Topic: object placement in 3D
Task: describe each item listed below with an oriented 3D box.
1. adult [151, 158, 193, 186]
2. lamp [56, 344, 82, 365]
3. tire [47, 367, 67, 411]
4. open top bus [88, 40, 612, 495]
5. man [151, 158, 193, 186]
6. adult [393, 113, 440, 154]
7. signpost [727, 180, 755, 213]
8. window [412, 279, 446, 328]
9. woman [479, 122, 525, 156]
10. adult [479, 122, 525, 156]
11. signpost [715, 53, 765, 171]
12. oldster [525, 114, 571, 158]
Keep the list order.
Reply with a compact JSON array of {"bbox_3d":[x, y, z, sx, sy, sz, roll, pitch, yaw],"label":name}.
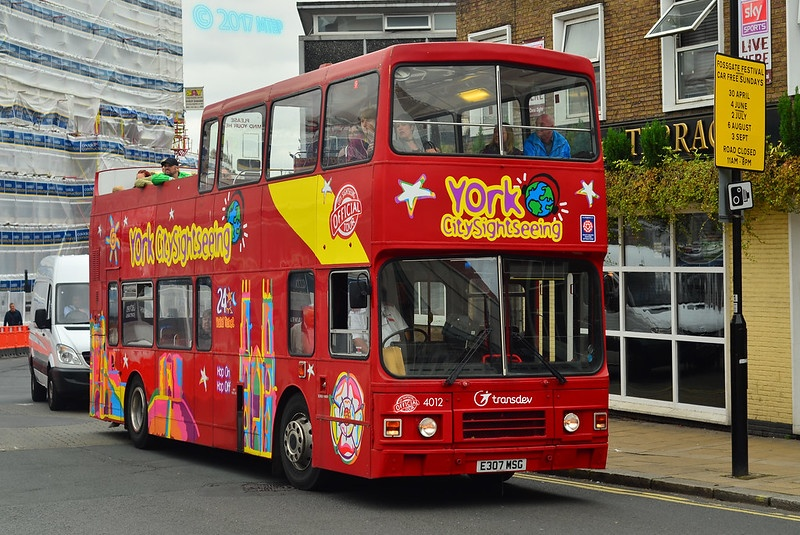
[{"bbox_3d":[-4.393,-1.832,19.062,0.564,0.451,0.844,-5,1,12],"label":"adult"},{"bbox_3d":[-7.986,2.081,24.335,0.651,0.389,0.237,-4,3,26],"label":"lamp"},{"bbox_3d":[-8.265,2.897,24.418,0.344,1.007,0.916,0,5,-27],"label":"tire"},{"bbox_3d":[-1.936,0.193,18.633,4.127,6.480,11.670,2,-2,-36],"label":"open top bus"},{"bbox_3d":[-4.394,-1.847,19.073,0.564,0.451,0.844,-5,1,12],"label":"man"},{"bbox_3d":[0.219,-1.817,13.838,0.608,0.500,0.160,-5,3,3],"label":"adult"},{"bbox_3d":[5.059,-1.075,15.078,0.355,0.445,0.193,-3,4,33],"label":"signpost"},{"bbox_3d":[0.404,0.472,13.731,0.471,0.714,0.032,-3,-30,3],"label":"window"},{"bbox_3d":[1.437,-1.672,14.259,0.665,0.650,0.397,2,-9,-7],"label":"woman"},{"bbox_3d":[1.434,-1.628,14.242,0.665,0.650,0.397,2,-9,-7],"label":"adult"},{"bbox_3d":[5.064,-2.335,15.104,1.092,1.749,0.236,-8,5,-36],"label":"signpost"},{"bbox_3d":[2.090,-1.877,14.429,0.550,0.631,0.372,1,-10,-8],"label":"oldster"}]
